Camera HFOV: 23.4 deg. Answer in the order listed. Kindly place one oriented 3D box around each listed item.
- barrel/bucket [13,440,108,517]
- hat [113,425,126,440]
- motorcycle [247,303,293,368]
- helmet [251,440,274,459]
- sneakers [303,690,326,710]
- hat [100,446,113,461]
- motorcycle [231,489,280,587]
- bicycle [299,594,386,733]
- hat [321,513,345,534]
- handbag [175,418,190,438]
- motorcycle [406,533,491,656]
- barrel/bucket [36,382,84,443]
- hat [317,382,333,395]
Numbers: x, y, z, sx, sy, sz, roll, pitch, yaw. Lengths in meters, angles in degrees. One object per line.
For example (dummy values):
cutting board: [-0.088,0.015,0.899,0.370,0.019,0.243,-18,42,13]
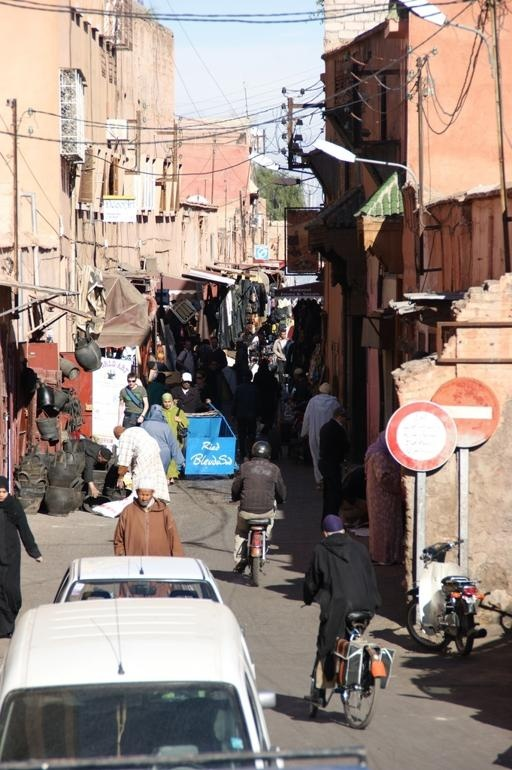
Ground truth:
barrel/bucket: [-2.568,1.245,16.241,1.101,0.947,0.774,3,-7,-30]
hat: [-1.692,0.593,15.375,0.145,0.207,0.140,23,18,41]
motorcycle: [0.475,-1.528,43.158,1.166,2.020,2.978,0,4,0]
helmet: [0.054,0.664,12.746,0.154,0.210,0.199,3,33,-9]
sneakers: [0.369,2.027,7.966,0.138,0.117,0.050,-5,33,46]
hat: [-1.993,0.909,16.519,0.120,0.189,0.172,-7,-18,-13]
motorcycle: [-0.012,1.595,12.287,0.345,0.550,0.720,2,6,2]
bicycle: [0.580,1.844,7.829,0.487,0.727,0.762,0,3,0]
hat: [0.511,0.947,8.299,0.125,0.143,0.259,0,3,1]
handbag: [-1.135,0.655,18.820,0.200,0.456,0.287,0,1,4]
motorcycle: [1.449,1.714,9.565,0.370,0.695,0.974,1,5,-7]
barrel/bucket: [-2.867,0.431,18.101,0.435,0.853,0.755,7,-8,-13]
hat: [0.934,0.070,16.881,0.123,0.144,0.221,6,13,5]
